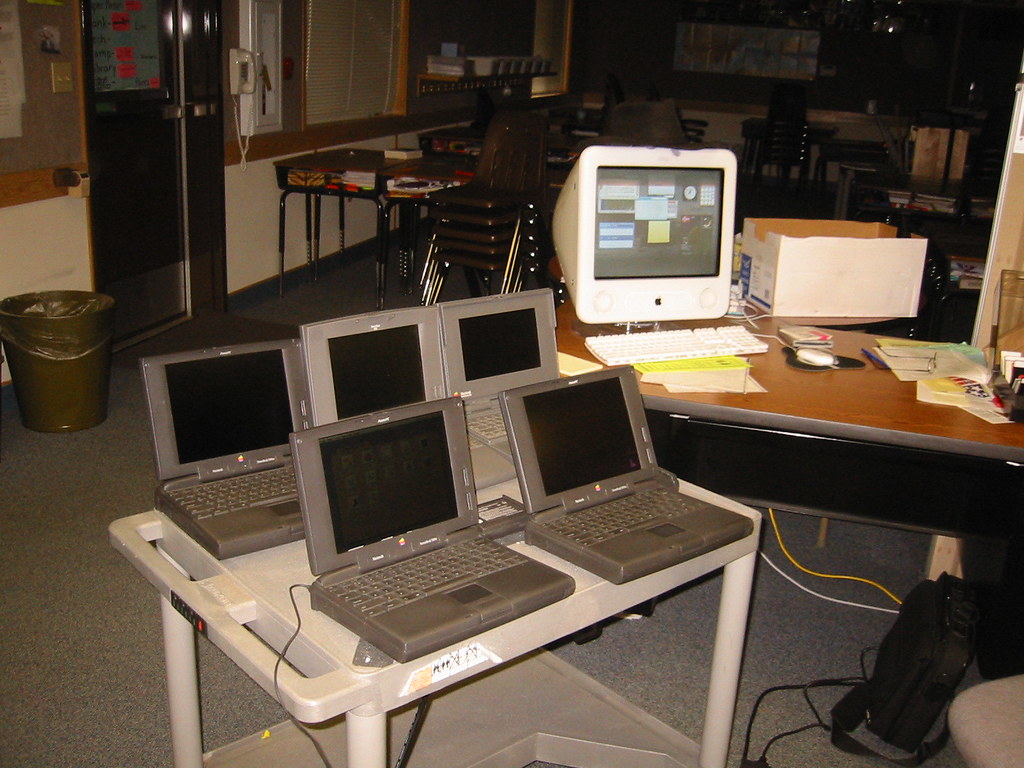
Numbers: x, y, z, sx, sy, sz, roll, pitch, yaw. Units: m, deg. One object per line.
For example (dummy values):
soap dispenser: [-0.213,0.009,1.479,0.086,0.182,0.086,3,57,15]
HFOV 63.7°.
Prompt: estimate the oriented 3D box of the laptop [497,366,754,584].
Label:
laptop: [0.256,0.180,1.816,0.451,0.300,0.415,-7,18,-36]

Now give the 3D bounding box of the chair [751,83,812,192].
chair: [3.558,-3.284,10.884,0.723,1.303,0.954,5,22,15]

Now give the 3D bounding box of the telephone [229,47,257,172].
telephone: [-1.718,-1.805,5.379,0.099,0.715,0.284,6,22,17]

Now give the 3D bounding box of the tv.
tv: [0.368,-0.535,2.897,0.736,0.700,0.522,-4,18,-18]

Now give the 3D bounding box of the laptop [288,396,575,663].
laptop: [-0.163,0.263,1.586,0.446,0.344,0.349,-14,24,-32]

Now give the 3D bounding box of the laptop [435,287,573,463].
laptop: [-0.043,-0.083,2.212,0.320,0.276,0.229,-10,-1,-20]

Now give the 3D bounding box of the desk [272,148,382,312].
desk: [-1.353,-1.194,6.133,0.665,0.807,0.870,-1,15,-13]

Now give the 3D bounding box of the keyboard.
keyboard: [0.533,-0.126,2.653,0.580,0.063,0.264,-6,21,-14]

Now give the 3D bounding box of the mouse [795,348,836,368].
mouse: [0.949,-0.084,2.583,0.117,0.046,0.104,12,24,29]

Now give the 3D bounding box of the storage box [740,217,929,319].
storage box: [1.181,-0.465,3.169,0.596,0.334,0.549,-1,21,0]

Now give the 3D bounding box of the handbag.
handbag: [1.143,0.814,2.375,0.181,0.538,0.404,28,34,-1]

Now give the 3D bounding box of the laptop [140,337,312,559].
laptop: [-0.589,0.135,1.775,0.349,0.367,0.307,-10,23,-23]

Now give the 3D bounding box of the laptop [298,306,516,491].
laptop: [-0.226,0.040,1.807,0.411,0.275,0.427,-5,29,-26]
